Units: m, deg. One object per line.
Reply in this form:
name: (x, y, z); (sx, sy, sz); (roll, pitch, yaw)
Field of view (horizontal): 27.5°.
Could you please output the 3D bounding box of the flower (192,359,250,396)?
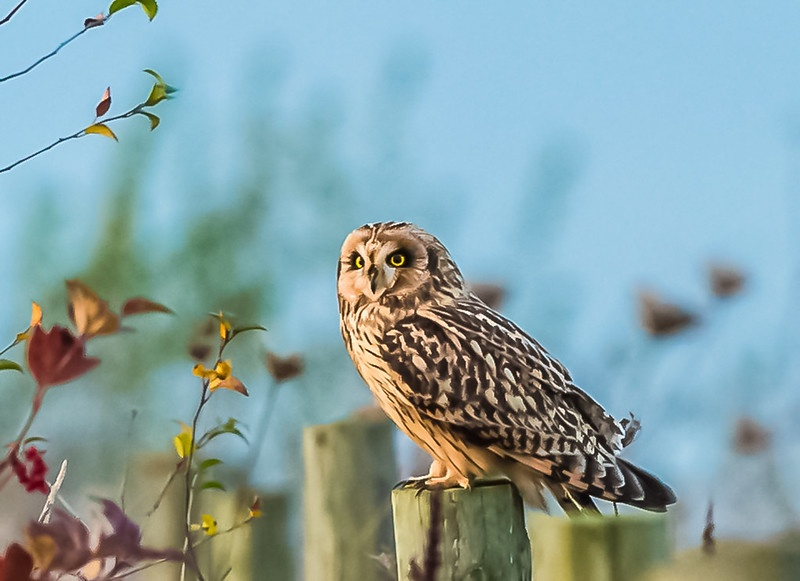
flower: (-0.399, 0.203, 3.653); (0.092, 0.031, 0.095); (18, -2, 3)
